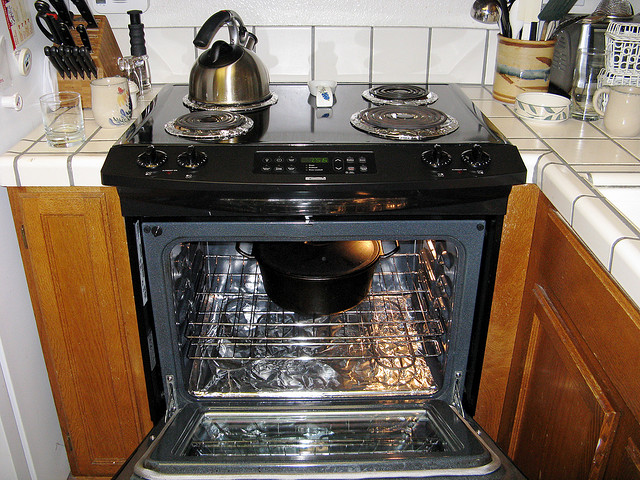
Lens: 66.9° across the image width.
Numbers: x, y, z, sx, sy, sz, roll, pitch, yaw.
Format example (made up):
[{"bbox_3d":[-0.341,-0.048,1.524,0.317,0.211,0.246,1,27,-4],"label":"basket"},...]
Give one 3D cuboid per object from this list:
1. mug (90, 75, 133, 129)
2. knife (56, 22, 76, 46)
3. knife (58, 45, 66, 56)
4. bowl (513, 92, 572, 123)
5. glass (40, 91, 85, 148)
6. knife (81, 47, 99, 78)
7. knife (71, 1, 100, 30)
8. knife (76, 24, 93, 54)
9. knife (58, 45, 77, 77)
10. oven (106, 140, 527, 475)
[{"bbox_3d":[-0.591,-0.399,1.371,0.149,0.145,0.110,-9,31,-21],"label":"mug"},{"bbox_3d":[-0.761,-0.617,1.441,0.037,0.061,0.049,-13,25,-24],"label":"knife"},{"bbox_3d":[-0.775,-0.572,1.452,0.021,0.028,0.021,-20,28,-36],"label":"knife"},{"bbox_3d":[0.668,-0.407,1.475,0.130,0.078,0.150,-15,26,-27],"label":"bowl"},{"bbox_3d":[-0.728,-0.345,1.365,0.108,0.128,0.113,0,28,-12],"label":"glass"},{"bbox_3d":[-0.703,-0.547,1.476,0.023,0.026,0.100,-19,-8,-14],"label":"knife"},{"bbox_3d":[-0.744,-0.712,1.530,0.068,0.043,0.186,-13,-7,-27],"label":"knife"},{"bbox_3d":[-0.722,-0.615,1.476,0.027,0.010,0.107,-16,-13,-15],"label":"knife"},{"bbox_3d":[-0.771,-0.550,1.477,0.027,0.091,0.044,0,23,5],"label":"knife"},{"bbox_3d":[0.001,0.128,1.366,1.040,0.832,0.769,-2,23,1],"label":"oven"}]
